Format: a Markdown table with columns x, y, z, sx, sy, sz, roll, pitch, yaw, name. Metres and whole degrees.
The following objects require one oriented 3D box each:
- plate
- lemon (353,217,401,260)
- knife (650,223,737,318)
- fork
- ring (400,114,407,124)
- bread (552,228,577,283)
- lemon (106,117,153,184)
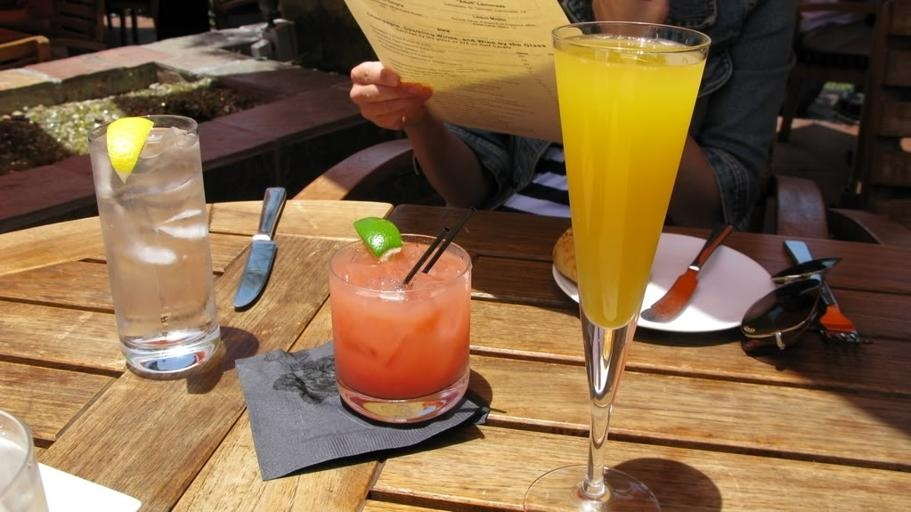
| x | y | z | sx | sy | sz | roll | pitch | yaw | name |
| --- | --- | --- | --- | --- | --- | --- | --- | --- | --- |
| 0.481 | 0.057 | 1.310 | 0.313 | 0.029 | 0.272 | 1 | 27 | 6 | plate |
| -0.130 | -0.031 | 1.115 | 0.085 | 0.027 | 0.076 | -10 | 66 | -15 | lemon |
| 0.507 | 0.024 | 1.350 | 0.085 | 0.019 | 0.485 | 13 | 29 | 29 | knife |
| 0.757 | 0.059 | 1.307 | 0.073 | 0.019 | 0.230 | -8 | 39 | 0 | fork |
| -0.158 | -0.412 | 1.876 | 0.024 | 0.014 | 0.021 | -1 | 0 | 1 | ring |
| 0.235 | -0.003 | 1.345 | 0.080 | 0.017 | 0.092 | -13 | 55 | 36 | bread |
| -0.591 | -0.197 | 1.142 | 0.085 | 0.086 | 0.129 | -15 | 37 | -22 | lemon |
